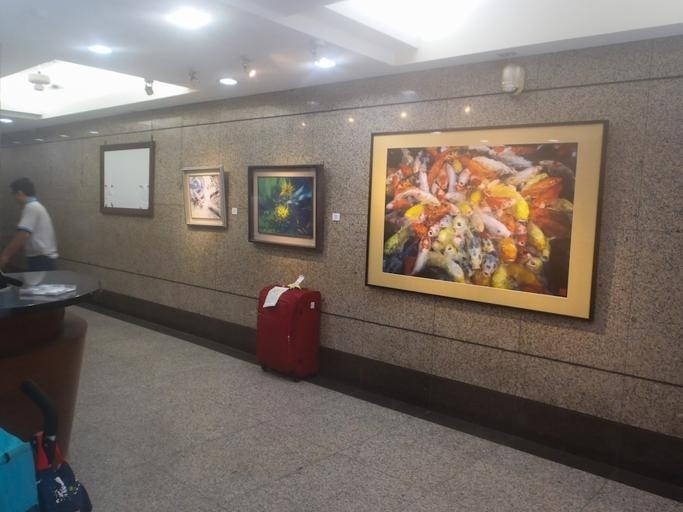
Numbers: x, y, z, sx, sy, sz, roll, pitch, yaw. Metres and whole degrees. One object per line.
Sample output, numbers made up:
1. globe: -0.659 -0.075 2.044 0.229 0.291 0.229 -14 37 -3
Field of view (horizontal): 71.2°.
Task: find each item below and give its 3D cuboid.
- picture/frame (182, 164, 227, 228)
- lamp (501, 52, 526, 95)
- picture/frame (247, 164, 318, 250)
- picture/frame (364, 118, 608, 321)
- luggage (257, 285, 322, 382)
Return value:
1. picture/frame: -2.028 -0.889 7.061 0.831 0.843 0.078 5 10 29
2. lamp: 1.644 -1.712 4.521 0.238 0.268 0.341 4 -10 34
3. picture/frame: -0.717 -0.656 6.154 1.037 0.925 0.118 7 10 37
4. picture/frame: 1.501 -0.375 4.689 2.070 1.596 0.070 7 10 38
5. luggage: -0.659 0.933 5.844 0.789 1.060 0.440 1 9 1
